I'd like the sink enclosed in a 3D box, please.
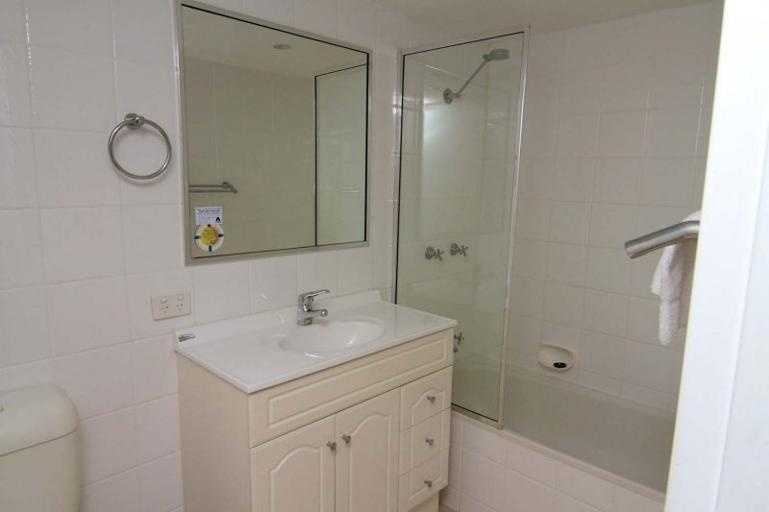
[{"bbox_3d":[-0.434,0.408,2.791,0.443,0.161,0.650,9,-6,-35],"label":"sink"}]

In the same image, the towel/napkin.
[{"bbox_3d":[0.919,0.121,1.746,0.112,0.346,0.154,3,12,31],"label":"towel/napkin"}]

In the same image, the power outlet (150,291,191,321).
[{"bbox_3d":[-0.917,0.210,2.319,0.121,0.088,0.021,-5,7,-41],"label":"power outlet"}]

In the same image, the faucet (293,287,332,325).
[{"bbox_3d":[-0.371,0.238,2.643,0.169,0.210,0.138,4,6,38],"label":"faucet"}]

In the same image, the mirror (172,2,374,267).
[{"bbox_3d":[-0.549,-0.586,2.532,1.282,1.329,0.045,-3,10,-42],"label":"mirror"}]
